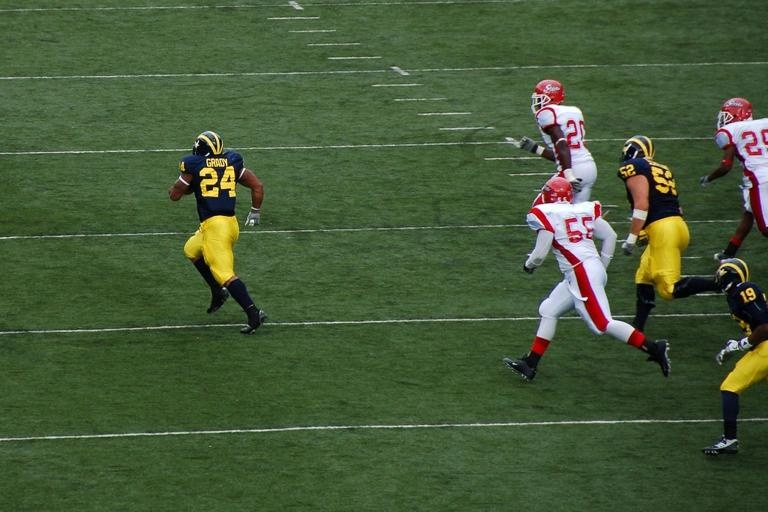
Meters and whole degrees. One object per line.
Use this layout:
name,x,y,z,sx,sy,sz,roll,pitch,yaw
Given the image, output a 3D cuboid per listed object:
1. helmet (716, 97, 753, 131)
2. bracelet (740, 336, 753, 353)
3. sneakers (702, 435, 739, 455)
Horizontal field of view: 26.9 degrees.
helmet,4.203,-1.750,19.439,0.650,0.342,0.407,4,11,12
bracelet,3.764,0.904,16.641,0.150,0.118,0.144,22,-30,-40
sneakers,3.535,1.982,16.607,0.504,0.134,0.143,0,0,5
